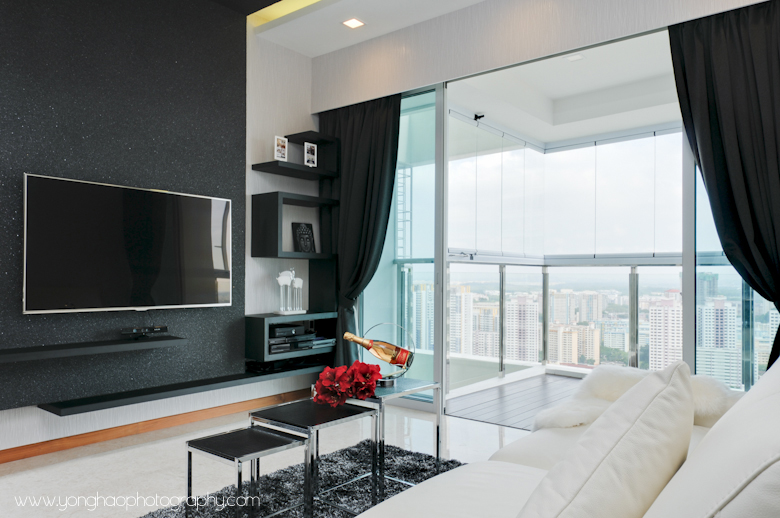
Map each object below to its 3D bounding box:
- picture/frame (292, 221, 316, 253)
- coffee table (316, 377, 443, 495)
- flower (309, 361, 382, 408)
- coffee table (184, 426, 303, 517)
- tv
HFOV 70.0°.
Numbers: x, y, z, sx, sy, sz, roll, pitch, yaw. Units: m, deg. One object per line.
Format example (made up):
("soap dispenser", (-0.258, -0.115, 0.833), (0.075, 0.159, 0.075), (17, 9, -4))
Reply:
("picture/frame", (-0.902, -0.229, 5.786), (0.051, 0.361, 0.326), (-14, -11, 35))
("coffee table", (-0.059, 1.200, 4.262), (0.781, 0.740, 0.779), (0, 0, 41))
("flower", (-0.272, 0.815, 3.644), (0.344, 0.164, 0.339), (3, 10, 14))
("coffee table", (-0.870, 1.289, 3.337), (0.501, 0.452, 0.534), (0, 0, 41))
("tv", (-2.116, -0.086, 4.696), (0.023, 1.035, 1.743), (-6, -6, 38))
